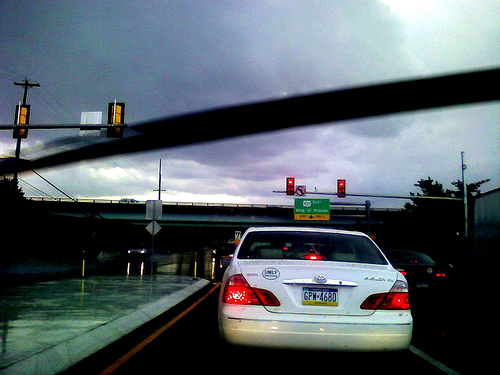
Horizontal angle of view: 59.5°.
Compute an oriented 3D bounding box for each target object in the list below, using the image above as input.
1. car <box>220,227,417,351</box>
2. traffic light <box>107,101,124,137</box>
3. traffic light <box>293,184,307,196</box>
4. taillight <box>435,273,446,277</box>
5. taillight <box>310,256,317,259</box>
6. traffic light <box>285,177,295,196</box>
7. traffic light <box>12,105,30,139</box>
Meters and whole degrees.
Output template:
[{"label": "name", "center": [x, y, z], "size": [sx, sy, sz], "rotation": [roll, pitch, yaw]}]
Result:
[{"label": "car", "center": [1.107, 2.115, 9.499], "size": [3.284, 2.482, 5.921], "rotation": [2, -5, -3]}, {"label": "traffic light", "center": [-5.240, -2.644, 16.988], "size": [0.593, 1.210, 0.921], "rotation": [0, -3, -18]}, {"label": "traffic light", "center": [3.557, 0.243, 31.473], "size": [1.154, 1.062, 0.368], "rotation": [1, -44, -6]}, {"label": "taillight", "center": [5.862, 2.694, 13.485], "size": [0.304, 0.103, 0.056], "rotation": [-1, -3, -6]}, {"label": "taillight", "center": [1.075, 1.199, 7.460], "size": [0.121, 0.024, 0.056], "rotation": [-1, -3, -1]}, {"label": "traffic light", "center": [3.052, -0.081, 33.456], "size": [0.762, 1.276, 0.395], "rotation": [0, -3, -24]}, {"label": "traffic light", "center": [-9.361, -2.695, 17.890], "size": [0.588, 1.394, 0.804], "rotation": [1, -3, -28]}]
